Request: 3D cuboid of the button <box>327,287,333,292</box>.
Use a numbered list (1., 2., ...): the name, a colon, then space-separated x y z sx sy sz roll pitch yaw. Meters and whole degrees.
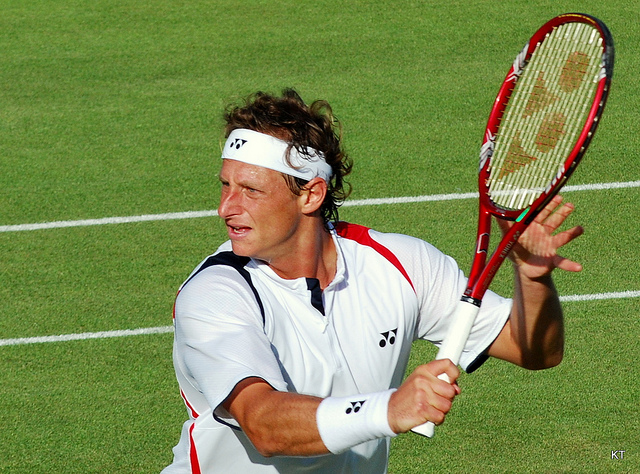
1. button: 0.069 0.356 4.743 0.041 0.026 0.011 -20 33 -29
